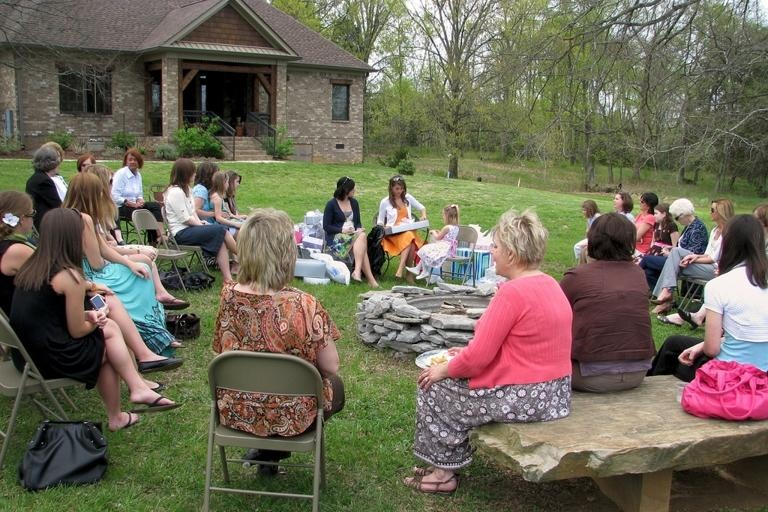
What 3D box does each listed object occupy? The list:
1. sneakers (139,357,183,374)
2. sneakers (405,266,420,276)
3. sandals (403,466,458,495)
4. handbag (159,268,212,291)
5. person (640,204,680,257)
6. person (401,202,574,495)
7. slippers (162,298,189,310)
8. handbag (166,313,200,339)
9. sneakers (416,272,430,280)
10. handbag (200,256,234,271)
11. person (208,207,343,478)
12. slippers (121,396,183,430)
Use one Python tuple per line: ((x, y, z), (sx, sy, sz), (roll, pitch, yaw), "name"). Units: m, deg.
((-2.166, 1.041, 6.017), (0.400, 0.131, 0.147), (-4, -11, -18), "sneakers")
((0.455, 0.224, 10.257), (0.230, 0.161, 0.096), (21, 9, 2), "sneakers")
((0.375, 1.793, 5.028), (0.348, 0.132, 0.218), (10, 2, 8), "sandals")
((-2.796, 0.335, 8.788), (0.471, 0.174, 0.354), (3, 1, 3), "handbag")
((4.572, -0.435, 10.024), (0.813, 0.864, 0.567), (-2, 3, -9), "person")
((0.852, 0.793, 4.841), (1.205, 2.217, 0.492), (4, 11, 13), "person")
((-2.517, 0.567, 7.472), (0.317, 0.088, 0.125), (-2, 3, -6), "slippers")
((-2.336, 0.801, 7.161), (0.362, 0.265, 0.286), (1, -1, -12), "handbag")
((0.626, 0.318, 10.162), (0.220, 0.156, 0.095), (2, 4, 39), "sneakers")
((-2.604, 0.094, 9.567), (0.281, 0.141, 0.360), (5, -5, -29), "handbag")
((-0.808, 0.734, 4.723), (0.974, 2.132, 0.565), (1, 10, -7), "person")
((-2.030, 1.349, 5.467), (0.575, 0.136, 0.216), (-10, -12, -4), "slippers")
